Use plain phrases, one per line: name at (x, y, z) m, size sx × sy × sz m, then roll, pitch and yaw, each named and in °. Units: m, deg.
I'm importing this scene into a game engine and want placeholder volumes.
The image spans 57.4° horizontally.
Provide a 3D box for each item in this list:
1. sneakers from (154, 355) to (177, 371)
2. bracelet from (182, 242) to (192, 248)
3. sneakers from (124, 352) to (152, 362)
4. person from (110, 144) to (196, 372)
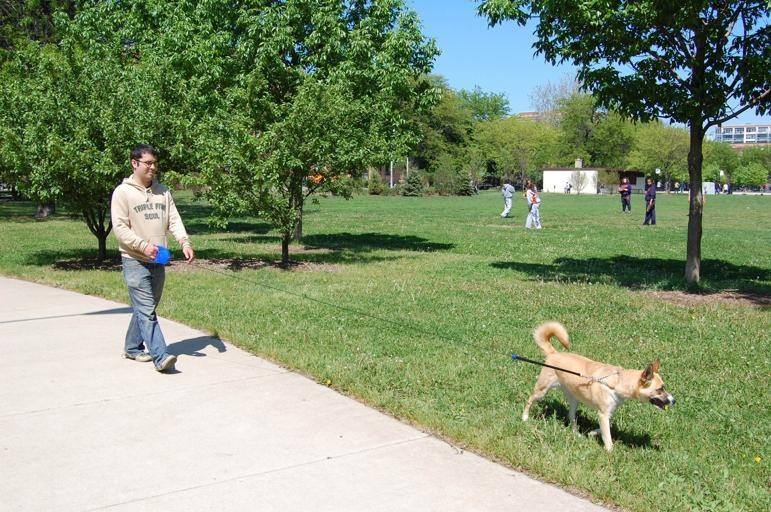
sneakers at (-3.191, 1.563, 10.232) m, size 0.174 × 0.174 × 0.366 m, roll 23°, pitch -32°, yaw -22°
bracelet at (-2.958, -0.170, 10.466) m, size 0.123 × 0.126 × 0.130 m, roll -6°, pitch 11°, yaw -27°
sneakers at (-3.711, 1.498, 10.605) m, size 0.430 × 0.201 × 0.175 m, roll 0°, pitch -1°, yaw 3°
person at (-3.459, 0.017, 10.424) m, size 0.924 × 3.289 × 0.835 m, roll 5°, pitch 10°, yaw 39°
